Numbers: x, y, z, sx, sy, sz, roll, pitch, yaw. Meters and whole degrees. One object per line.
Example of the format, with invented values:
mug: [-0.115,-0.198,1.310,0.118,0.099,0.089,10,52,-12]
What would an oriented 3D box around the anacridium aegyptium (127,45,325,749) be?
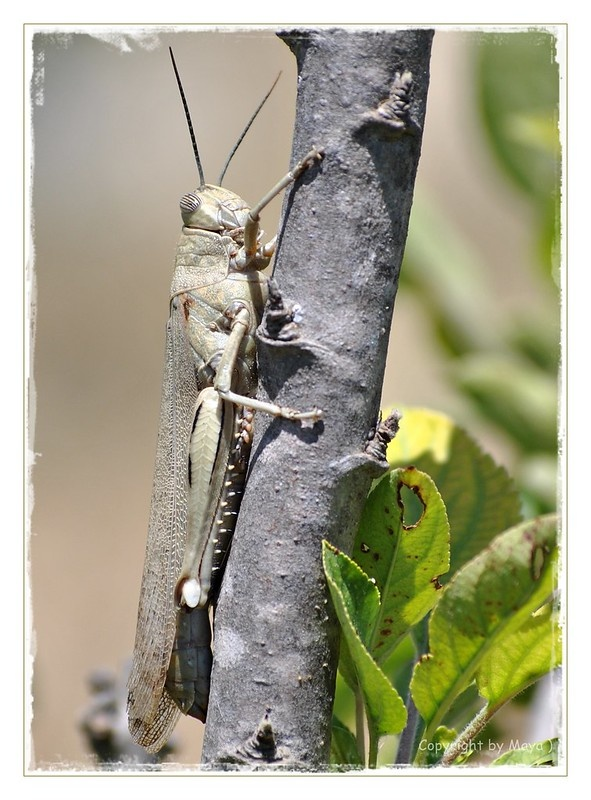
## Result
anacridium aegyptium: [-0.184,-0.019,3.147,0.330,1.381,0.450,4,-5,17]

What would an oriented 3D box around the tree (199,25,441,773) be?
tree: [0.014,-0.015,2.457,0.271,1.199,0.228,9,-1,3]
